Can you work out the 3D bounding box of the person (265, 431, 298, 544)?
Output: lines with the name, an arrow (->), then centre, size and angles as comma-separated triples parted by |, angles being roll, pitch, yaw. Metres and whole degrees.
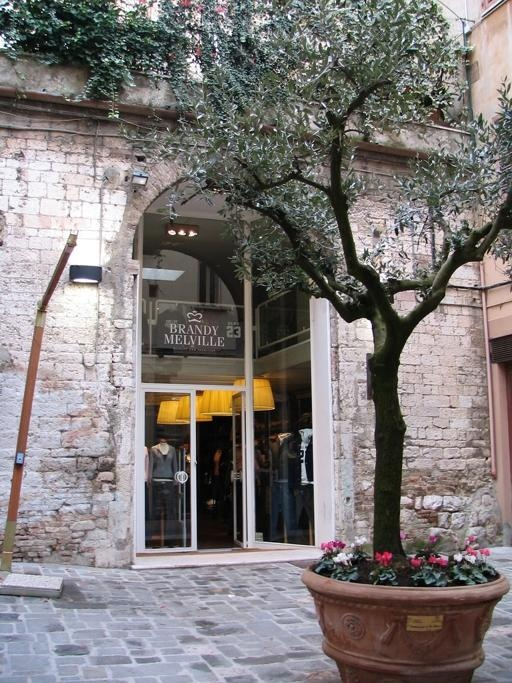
person -> 0.414, 1.818, 7.644 | 0.353, 1.422, 0.349 | 6, -21, 10
